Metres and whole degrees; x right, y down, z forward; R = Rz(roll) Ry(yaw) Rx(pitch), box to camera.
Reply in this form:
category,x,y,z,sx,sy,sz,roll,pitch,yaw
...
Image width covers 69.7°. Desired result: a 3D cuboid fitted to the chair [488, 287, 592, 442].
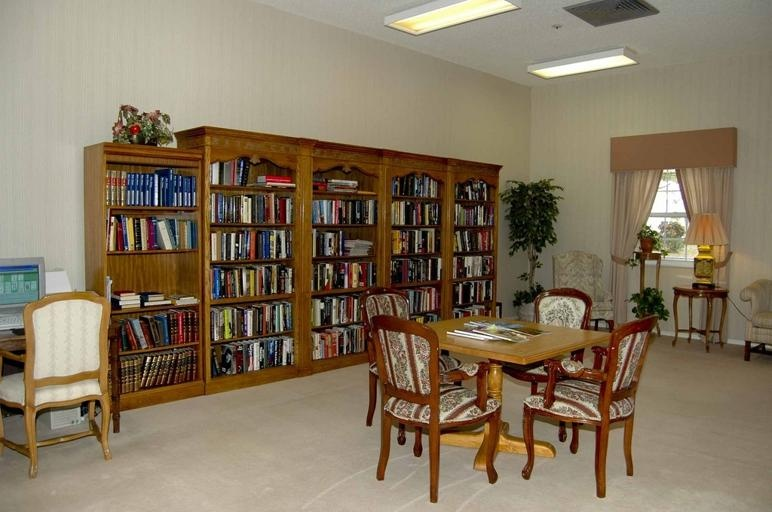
category,x,y,z,sx,sy,sz,roll,pitch,yaw
chair,1.957,1.143,5.965,0.932,1.436,0.862,27,-17,-32

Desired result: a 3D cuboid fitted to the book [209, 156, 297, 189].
category,x,y,z,sx,sy,sz,roll,pitch,yaw
book,-1.616,-0.994,6.621,1.050,0.349,0.599,-4,10,-26

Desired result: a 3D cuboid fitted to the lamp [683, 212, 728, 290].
category,x,y,z,sx,sy,sz,roll,pitch,yaw
lamp,4.864,-0.090,8.410,0.711,1.085,0.449,-8,14,-41

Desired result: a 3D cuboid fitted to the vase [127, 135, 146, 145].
category,x,y,z,sx,sy,sz,roll,pitch,yaw
vase,-2.595,-1.194,5.809,0.130,0.091,0.124,0,0,42

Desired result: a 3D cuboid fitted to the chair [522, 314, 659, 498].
category,x,y,z,sx,sy,sz,roll,pitch,yaw
chair,1.717,1.195,4.804,1.098,1.394,1.055,0,1,3

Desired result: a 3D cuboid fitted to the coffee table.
category,x,y,z,sx,sy,sz,roll,pitch,yaw
coffee table,4.817,0.927,8.514,0.790,0.830,0.732,2,0,-16

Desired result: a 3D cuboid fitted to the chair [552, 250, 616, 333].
category,x,y,z,sx,sy,sz,roll,pitch,yaw
chair,3.162,0.604,8.946,0.894,1.288,0.802,1,11,-4

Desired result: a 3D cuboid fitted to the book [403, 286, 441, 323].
category,x,y,z,sx,sy,sz,roll,pitch,yaw
book,0.486,0.653,7.644,0.526,0.465,0.212,-4,8,-38

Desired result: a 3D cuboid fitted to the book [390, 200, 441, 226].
category,x,y,z,sx,sy,sz,roll,pitch,yaw
book,0.419,-0.607,7.950,1.125,0.479,0.337,-3,7,-41

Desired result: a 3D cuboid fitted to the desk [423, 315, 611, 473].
category,x,y,z,sx,sy,sz,roll,pitch,yaw
desk,1.088,1.142,4.939,1.395,0.907,1.391,0,0,39

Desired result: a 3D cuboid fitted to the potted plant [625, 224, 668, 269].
category,x,y,z,sx,sy,sz,roll,pitch,yaw
potted plant,4.402,-0.143,9.421,0.740,0.813,0.691,1,-4,1

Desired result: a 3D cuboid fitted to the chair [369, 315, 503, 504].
category,x,y,z,sx,sy,sz,roll,pitch,yaw
chair,0.433,1.171,4.637,1.035,1.330,1.005,1,-1,22

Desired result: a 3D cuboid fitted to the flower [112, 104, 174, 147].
category,x,y,z,sx,sy,sz,roll,pitch,yaw
flower,-2.592,-1.431,5.962,0.574,0.386,0.350,-2,12,-6
